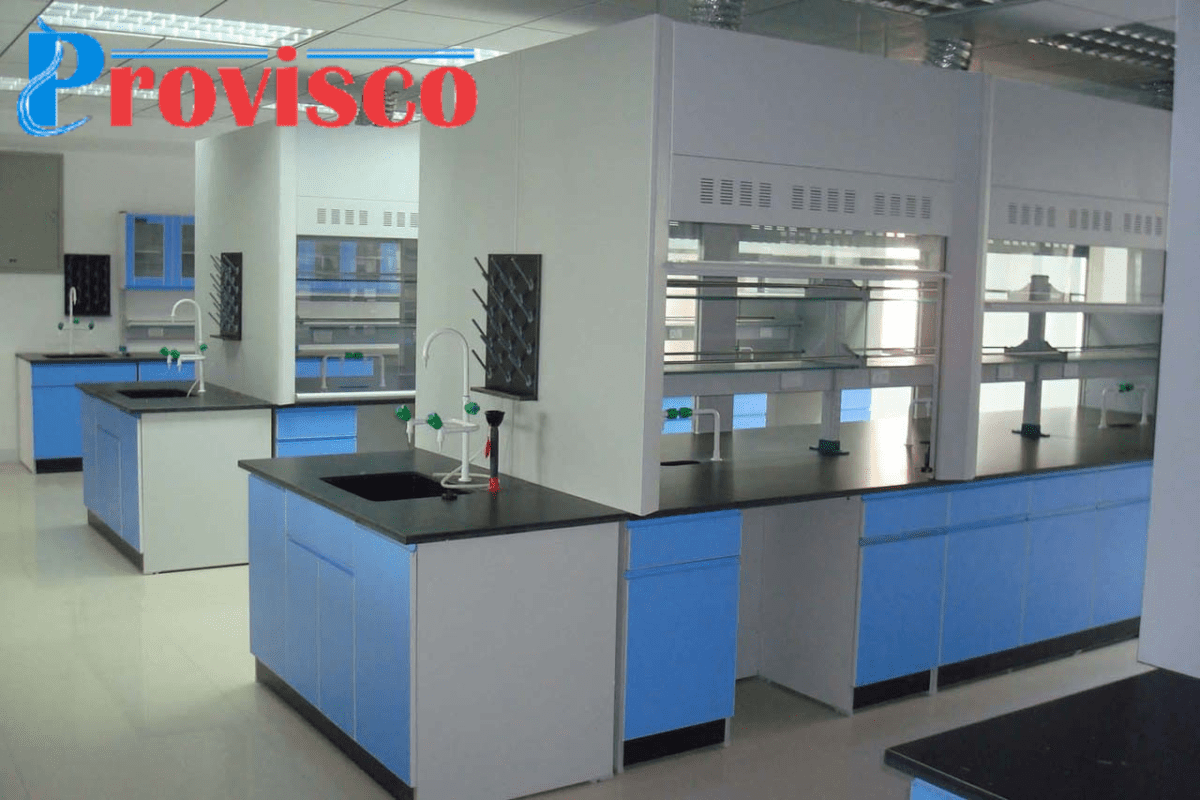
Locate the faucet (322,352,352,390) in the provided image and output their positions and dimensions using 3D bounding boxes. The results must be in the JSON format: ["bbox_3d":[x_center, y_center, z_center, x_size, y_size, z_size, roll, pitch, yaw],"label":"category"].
[{"bbox_3d":[-1.849,-0.212,6.626,0.061,0.246,0.190,9,14,36],"label":"faucet"}]

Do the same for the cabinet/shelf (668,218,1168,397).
[{"bbox_3d":[1.670,-0.491,5.023,3.438,0.832,0.910,-5,13,-29],"label":"cabinet/shelf"}]
